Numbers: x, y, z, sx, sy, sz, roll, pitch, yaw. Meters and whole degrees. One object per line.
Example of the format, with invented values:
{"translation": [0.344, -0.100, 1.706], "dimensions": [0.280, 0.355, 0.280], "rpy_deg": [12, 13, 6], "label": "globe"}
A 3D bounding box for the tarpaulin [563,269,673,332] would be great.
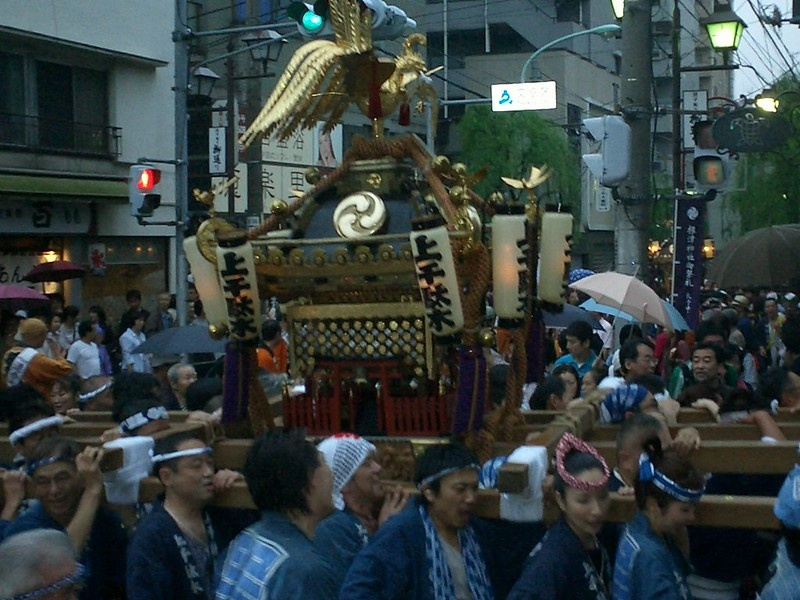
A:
{"translation": [2.349, -0.058, 13.996], "dimensions": [0.773, 0.274, 0.748], "rpy_deg": [33, -15, -37], "label": "tarpaulin"}

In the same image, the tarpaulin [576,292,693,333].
{"translation": [2.601, 0.152, 14.779], "dimensions": [0.619, 0.194, 0.608], "rpy_deg": [21, -9, -21], "label": "tarpaulin"}

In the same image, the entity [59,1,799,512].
{"translation": [-0.042, -0.626, 12.893], "dimensions": [4.092, 5.913, 4.082], "rpy_deg": [-1, 8, 7], "label": "entity"}

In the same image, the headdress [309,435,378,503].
{"translation": [-0.392, 1.272, 10.051], "dimensions": [0.492, 0.481, 0.426], "rpy_deg": [-14, 4, 8], "label": "headdress"}

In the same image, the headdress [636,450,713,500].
{"translation": [2.003, 1.333, 9.573], "dimensions": [0.347, 0.106, 0.348], "rpy_deg": [19, 2, -4], "label": "headdress"}

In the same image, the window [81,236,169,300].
{"translation": [-5.207, -0.626, 24.470], "dimensions": [1.697, 1.156, 0.077], "rpy_deg": [-3, 7, -31], "label": "window"}

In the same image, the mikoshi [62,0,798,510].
{"translation": [0.088, -0.749, 13.310], "dimensions": [4.091, 5.956, 4.125], "rpy_deg": [-1, 9, 7], "label": "mikoshi"}

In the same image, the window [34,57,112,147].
{"translation": [-5.966, -3.500, 23.332], "dimensions": [1.496, 1.520, 0.063], "rpy_deg": [8, 17, 13], "label": "window"}

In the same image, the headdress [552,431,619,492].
{"translation": [1.306, 1.209, 9.575], "dimensions": [0.330, 0.157, 0.426], "rpy_deg": [-26, 54, -15], "label": "headdress"}
